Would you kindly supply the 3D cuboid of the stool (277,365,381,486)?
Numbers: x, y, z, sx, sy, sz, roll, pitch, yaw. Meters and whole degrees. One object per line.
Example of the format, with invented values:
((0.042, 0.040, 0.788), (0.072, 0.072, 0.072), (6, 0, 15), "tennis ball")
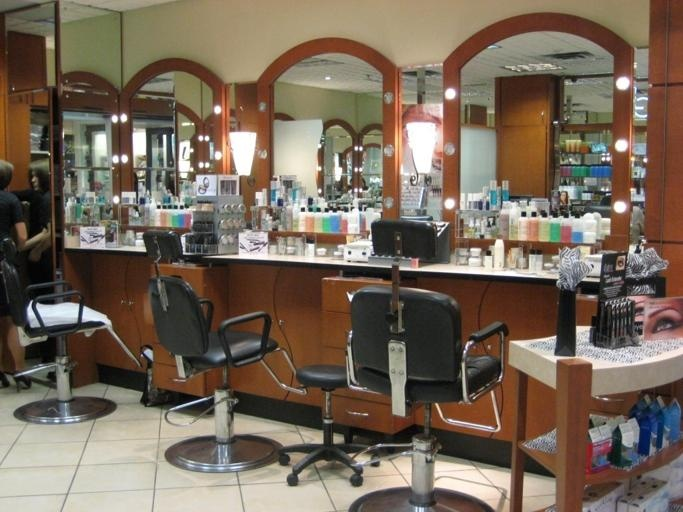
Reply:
((-0.083, 1.048, 3.794), (0.612, 0.673, 0.630), (-1, -1, -36), "stool")
